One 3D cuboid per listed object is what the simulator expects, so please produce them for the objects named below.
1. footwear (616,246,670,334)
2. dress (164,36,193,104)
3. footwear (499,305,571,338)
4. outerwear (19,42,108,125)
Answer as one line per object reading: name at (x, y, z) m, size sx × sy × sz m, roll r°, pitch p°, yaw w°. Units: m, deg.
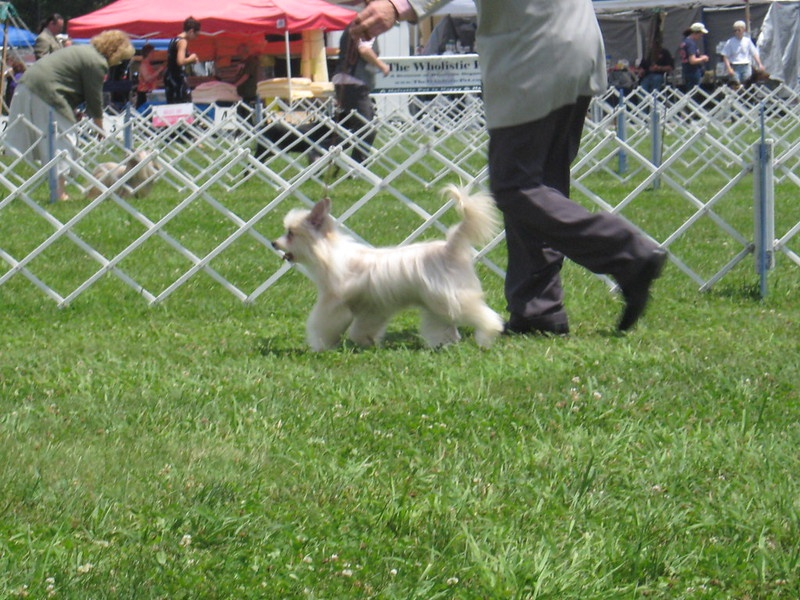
footwear at (1.145, -0.033, 5.442) m, size 0.158 × 0.523 × 0.223 m, roll 11°, pitch 34°, yaw -10°
dress at (-2.807, -2.849, 13.468) m, size 0.322 × 0.888 × 0.585 m, roll -12°, pitch 32°, yaw -10°
footwear at (0.713, 0.110, 5.712) m, size 0.381 × 0.167 × 0.131 m, roll 2°, pitch 9°, yaw 6°
outerwear at (-2.871, -1.852, 9.372) m, size 0.741 × 0.683 × 0.387 m, roll -14°, pitch 32°, yaw -13°
